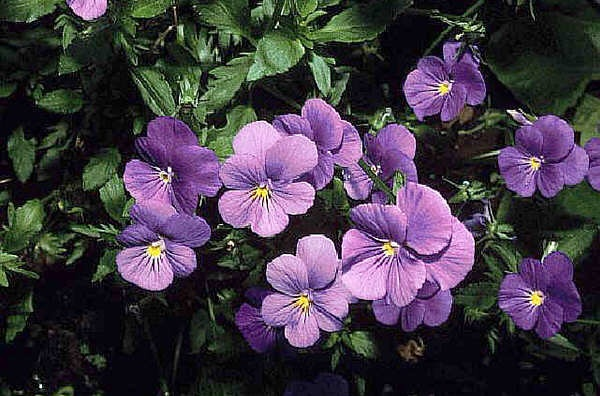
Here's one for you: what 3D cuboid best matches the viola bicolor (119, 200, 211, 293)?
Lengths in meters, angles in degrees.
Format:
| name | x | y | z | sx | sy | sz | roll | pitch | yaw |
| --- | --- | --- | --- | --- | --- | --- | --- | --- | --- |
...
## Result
| name | x | y | z | sx | sy | sz | roll | pitch | yaw |
| --- | --- | --- | --- | --- | --- | --- | --- | --- | --- |
| viola bicolor | -0.270 | 0.077 | 1.107 | 0.168 | 0.052 | 0.185 | -24 | 68 | -21 |

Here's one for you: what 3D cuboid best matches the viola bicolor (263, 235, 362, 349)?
| name | x | y | z | sx | sy | sz | roll | pitch | yaw |
| --- | --- | --- | --- | --- | --- | --- | --- | --- | --- |
| viola bicolor | -0.007 | 0.188 | 1.088 | 0.053 | 0.195 | 0.213 | 8 | 17 | -21 |

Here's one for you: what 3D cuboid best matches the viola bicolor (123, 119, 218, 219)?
| name | x | y | z | sx | sy | sz | roll | pitch | yaw |
| --- | --- | --- | --- | --- | --- | --- | --- | --- | --- |
| viola bicolor | -0.260 | -0.046 | 1.072 | 0.235 | 0.083 | 0.257 | 7 | 26 | -24 |

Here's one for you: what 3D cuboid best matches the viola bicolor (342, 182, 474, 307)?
| name | x | y | z | sx | sy | sz | roll | pitch | yaw |
| --- | --- | --- | --- | --- | --- | --- | --- | --- | --- |
| viola bicolor | 0.181 | 0.071 | 1.038 | 0.169 | 0.063 | 0.199 | 16 | -8 | 21 |

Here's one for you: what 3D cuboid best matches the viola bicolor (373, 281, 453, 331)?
| name | x | y | z | sx | sy | sz | roll | pitch | yaw |
| --- | --- | --- | --- | --- | --- | --- | --- | --- | --- |
| viola bicolor | 0.221 | 0.210 | 1.083 | 0.110 | 0.116 | 0.029 | -9 | 47 | 11 |

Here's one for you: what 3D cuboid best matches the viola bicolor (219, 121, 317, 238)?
| name | x | y | z | sx | sy | sz | roll | pitch | yaw |
| --- | --- | --- | --- | --- | --- | --- | --- | --- | --- |
| viola bicolor | -0.082 | -0.014 | 1.059 | 0.203 | 0.190 | 0.068 | -4 | 49 | 7 |

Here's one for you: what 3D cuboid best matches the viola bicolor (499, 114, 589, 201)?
| name | x | y | z | sx | sy | sz | roll | pitch | yaw |
| --- | --- | --- | --- | --- | --- | --- | --- | --- | --- |
| viola bicolor | 0.456 | -0.085 | 1.093 | 0.164 | 0.167 | 0.030 | -10 | 10 | -4 |
